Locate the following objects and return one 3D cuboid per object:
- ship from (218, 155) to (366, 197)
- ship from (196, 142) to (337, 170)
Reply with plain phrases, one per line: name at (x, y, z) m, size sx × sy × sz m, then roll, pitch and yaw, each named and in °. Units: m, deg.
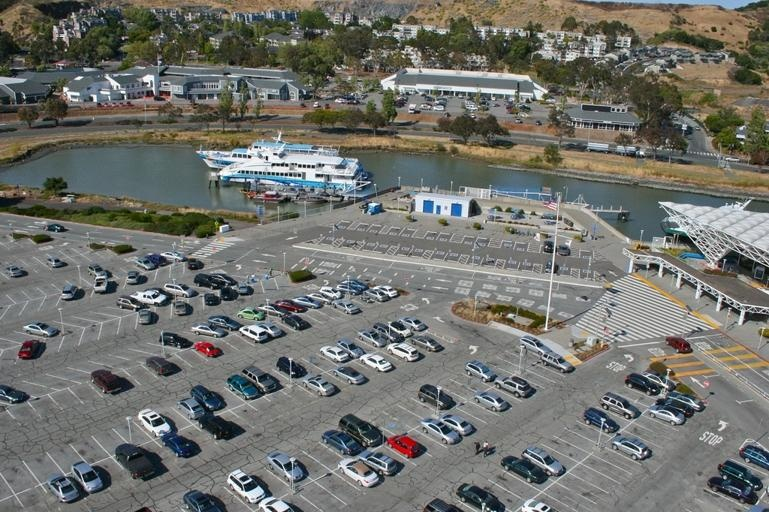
ship at (-15.903, -16.544, 148.043) m, size 33.139 × 6.494 × 8.452 m, roll 7°, pitch 33°, yaw 11°
ship at (-24.331, -20.713, 152.450) m, size 33.755 × 6.195 × 5.237 m, roll 6°, pitch 37°, yaw 12°
